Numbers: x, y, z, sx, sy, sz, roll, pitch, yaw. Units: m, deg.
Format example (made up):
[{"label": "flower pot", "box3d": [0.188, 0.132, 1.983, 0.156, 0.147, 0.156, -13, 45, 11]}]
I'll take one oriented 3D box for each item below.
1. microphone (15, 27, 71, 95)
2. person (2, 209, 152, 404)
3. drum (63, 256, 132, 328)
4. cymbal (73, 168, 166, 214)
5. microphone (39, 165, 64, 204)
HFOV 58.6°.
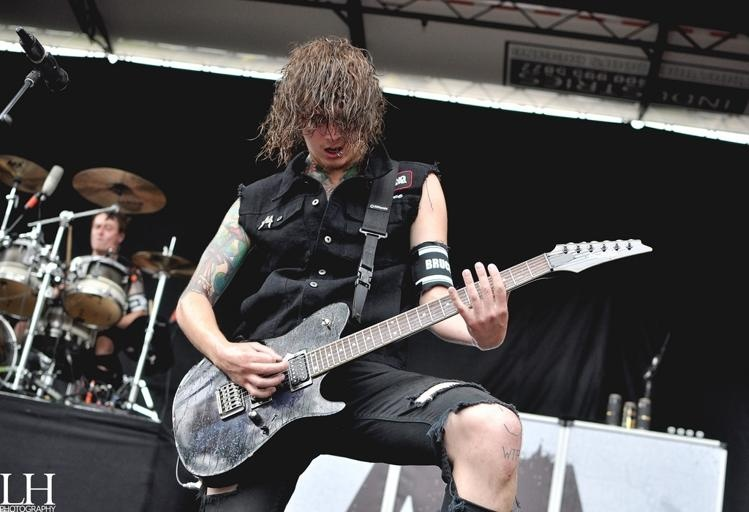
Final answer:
[{"label": "microphone", "box3d": [-2.672, -1.560, 5.235, 0.223, 0.206, 0.690, -30, -2, -13]}, {"label": "person", "box3d": [-2.961, 0.283, 6.781, 1.039, 1.536, 1.586, -6, -16, 18]}, {"label": "drum", "box3d": [-2.540, 0.315, 6.312, 0.566, 0.503, 0.569, 29, -41, -20]}, {"label": "cymbal", "box3d": [-2.414, -0.625, 6.326, 0.876, 0.201, 0.882, -7, 3, -2]}, {"label": "microphone", "box3d": [-3.065, -0.681, 6.325, 0.118, 0.379, 0.115, 28, -37, -1]}]
